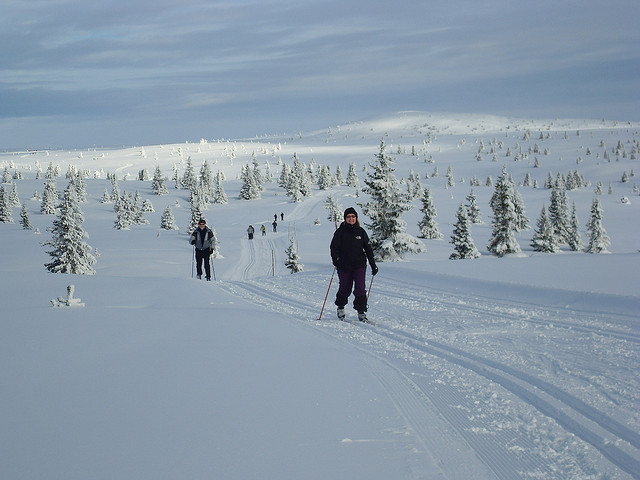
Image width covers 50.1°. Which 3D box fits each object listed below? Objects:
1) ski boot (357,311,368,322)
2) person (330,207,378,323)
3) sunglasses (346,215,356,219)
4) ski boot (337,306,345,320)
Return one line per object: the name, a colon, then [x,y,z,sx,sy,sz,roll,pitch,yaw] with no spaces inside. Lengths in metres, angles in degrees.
ski boot: [0.848,1.553,14.054,0.225,0.250,0.160,-1,-10,-10]
person: [0.675,0.475,14.188,0.909,2.304,0.725,2,8,8]
sunglasses: [0.625,-0.485,14.010,0.167,0.088,0.099,1,8,-4]
ski boot: [0.441,1.495,14.350,0.147,0.228,0.319,1,8,0]
